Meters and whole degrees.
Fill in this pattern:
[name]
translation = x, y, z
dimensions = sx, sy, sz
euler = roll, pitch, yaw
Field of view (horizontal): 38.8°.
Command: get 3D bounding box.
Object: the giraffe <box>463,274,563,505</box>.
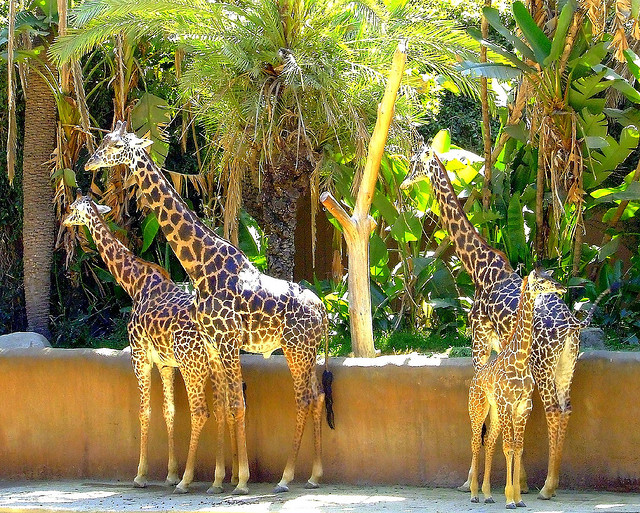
[giraffe]
translation = 1.629, 1.147, 7.877
dimensions = 0.691, 1.936, 1.246
euler = 1, -4, 6
